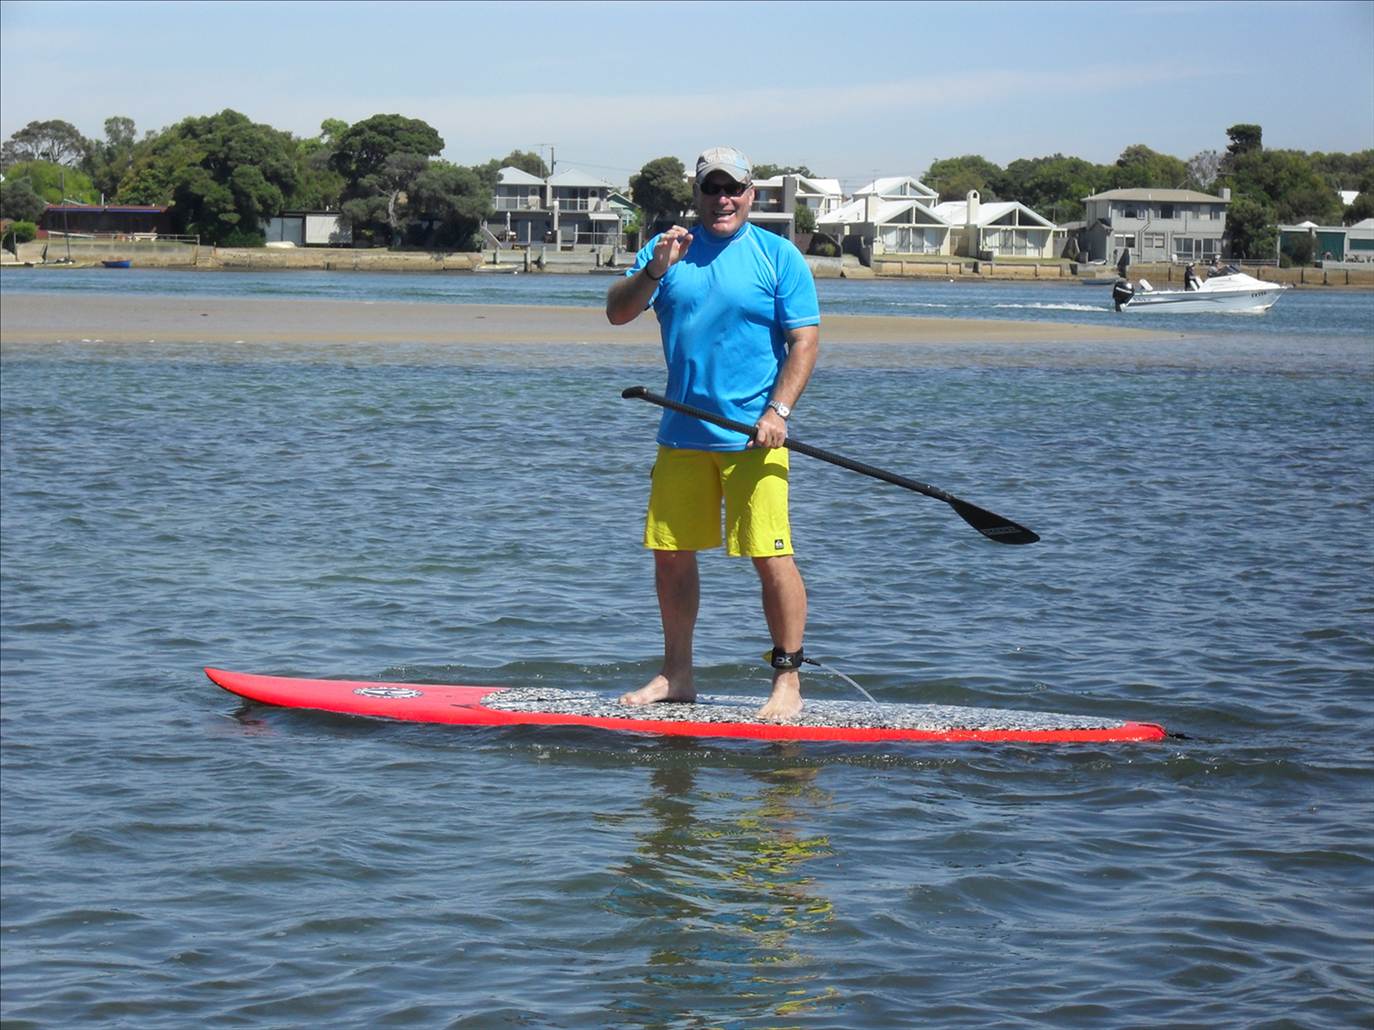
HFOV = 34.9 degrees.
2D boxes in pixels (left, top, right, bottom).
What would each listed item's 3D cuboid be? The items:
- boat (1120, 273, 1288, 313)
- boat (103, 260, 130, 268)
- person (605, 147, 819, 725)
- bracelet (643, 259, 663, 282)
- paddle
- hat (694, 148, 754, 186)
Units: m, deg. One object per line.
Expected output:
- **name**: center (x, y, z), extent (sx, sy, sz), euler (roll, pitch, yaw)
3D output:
- **boat**: center (14.311, -6.282, 61.495), extent (6.282, 1.234, 1.478), euler (-1, 6, -8)
- **boat**: center (-22.000, -9.721, 84.610), extent (0.997, 0.299, 3.587), euler (-1, 7, -13)
- **person**: center (0.136, -0.381, 10.869), extent (1.023, 2.841, 0.658), euler (0, 12, -4)
- **bracelet**: center (-0.161, -1.173, 10.574), extent (0.080, 0.074, 0.089), euler (-12, 6, 14)
- **paddle**: center (0.711, -0.300, 11.677), extent (2.449, 0.100, 0.272), euler (20, -23, 13)
- **hat**: center (0.166, -1.699, 10.666), extent (0.231, 0.164, 0.130), euler (1, 10, 6)
